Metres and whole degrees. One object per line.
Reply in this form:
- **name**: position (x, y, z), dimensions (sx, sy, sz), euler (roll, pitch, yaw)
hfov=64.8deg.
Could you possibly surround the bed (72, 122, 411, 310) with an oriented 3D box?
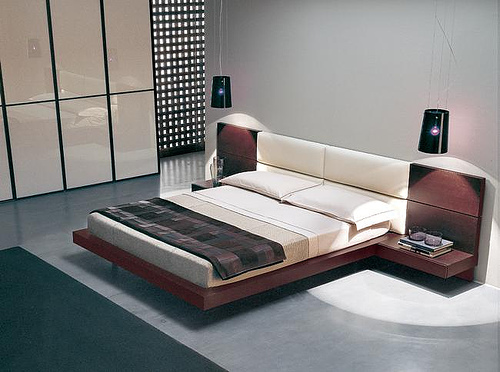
- **bed**: position (-0.218, 0.091, 4.360), dimensions (2.799, 0.930, 2.897), euler (-7, 16, -31)

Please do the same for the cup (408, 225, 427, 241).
- **cup**: position (1.618, 0.452, 3.790), dimensions (0.147, 0.086, 0.147), euler (-1, 13, 0)

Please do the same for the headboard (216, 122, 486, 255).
- **headboard**: position (0.862, -0.090, 4.651), dimensions (3.310, 0.855, 0.134), euler (17, 36, 38)

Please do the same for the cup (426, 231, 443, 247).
- **cup**: position (1.734, 0.493, 3.690), dimensions (0.106, 0.064, 0.170), euler (11, 19, 32)

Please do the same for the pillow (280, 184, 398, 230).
- **pillow**: position (0.862, 0.166, 4.061), dimensions (0.493, 0.150, 0.784), euler (-20, 27, -40)

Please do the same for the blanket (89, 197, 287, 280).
- **blanket**: position (-0.549, 0.441, 3.707), dimensions (1.735, 0.372, 0.708), euler (6, 12, 39)

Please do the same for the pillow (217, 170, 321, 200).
- **pillow**: position (0.188, -0.048, 4.651), dimensions (0.675, 0.109, 0.469), euler (15, 23, 42)
